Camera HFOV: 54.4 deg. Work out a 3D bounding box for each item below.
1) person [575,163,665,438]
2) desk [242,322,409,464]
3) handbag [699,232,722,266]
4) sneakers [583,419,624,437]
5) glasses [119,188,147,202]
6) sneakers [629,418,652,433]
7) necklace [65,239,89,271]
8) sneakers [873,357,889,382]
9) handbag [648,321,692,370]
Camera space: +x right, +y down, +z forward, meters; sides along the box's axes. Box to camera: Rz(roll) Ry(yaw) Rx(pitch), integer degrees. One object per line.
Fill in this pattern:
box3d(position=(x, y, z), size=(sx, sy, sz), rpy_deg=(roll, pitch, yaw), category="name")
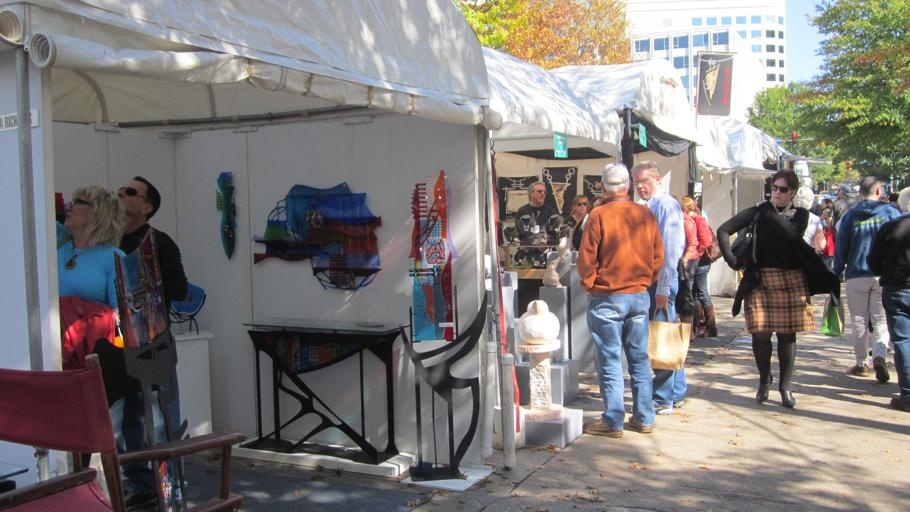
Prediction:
box3d(position=(1.910, 0.542, 10.276), size=(0.984, 3.057, 0.765), rpy_deg=(-2, 15, -5), category="person")
box3d(position=(-1.592, 1.553, 10.166), size=(1.885, 1.494, 0.626), rpy_deg=(3, -3, 9), category="desk")
box3d(position=(4.012, -0.135, 13.976), size=(0.319, 0.592, 0.588), rpy_deg=(-2, 4, 18), category="handbag")
box3d(position=(1.739, 2.031, 10.443), size=(0.446, 0.209, 0.193), rpy_deg=(6, 6, 26), category="sneakers")
box3d(position=(-3.318, -0.646, 9.020), size=(0.159, 0.053, 0.164), rpy_deg=(6, -10, 14), category="glasses")
box3d(position=(2.192, 2.012, 10.493), size=(0.119, 0.125, 0.274), rpy_deg=(-3, 8, -25), category="sneakers")
box3d(position=(-3.598, 0.013, 8.350), size=(0.108, 0.190, 0.155), rpy_deg=(9, 18, 33), category="necklace")
box3d(position=(5.758, 1.510, 11.943), size=(0.158, 0.441, 0.189), rpy_deg=(-8, 29, 36), category="sneakers")
box3d(position=(2.527, 1.048, 10.516), size=(0.663, 0.711, 0.281), rpy_deg=(1, 1, 11), category="handbag")
